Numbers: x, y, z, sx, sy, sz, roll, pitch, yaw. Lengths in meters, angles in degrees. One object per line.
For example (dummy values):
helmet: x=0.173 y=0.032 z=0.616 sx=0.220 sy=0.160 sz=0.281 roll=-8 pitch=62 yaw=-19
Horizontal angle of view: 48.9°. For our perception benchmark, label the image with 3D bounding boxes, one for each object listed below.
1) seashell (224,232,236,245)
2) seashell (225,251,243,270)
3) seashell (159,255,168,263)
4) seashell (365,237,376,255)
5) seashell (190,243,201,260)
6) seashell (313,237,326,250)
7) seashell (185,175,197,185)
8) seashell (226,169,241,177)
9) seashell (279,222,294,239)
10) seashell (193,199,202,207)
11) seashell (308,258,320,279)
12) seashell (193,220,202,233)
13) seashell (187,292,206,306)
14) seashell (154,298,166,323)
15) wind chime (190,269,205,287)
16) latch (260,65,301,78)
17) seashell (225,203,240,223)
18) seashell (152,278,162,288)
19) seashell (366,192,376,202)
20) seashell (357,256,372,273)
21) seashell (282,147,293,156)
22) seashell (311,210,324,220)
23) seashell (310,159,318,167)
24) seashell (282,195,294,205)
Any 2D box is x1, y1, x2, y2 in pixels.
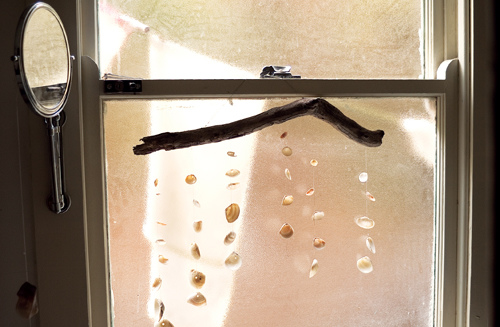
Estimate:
seashell: x=-0.064 y=0.239 z=1.759 sx=0.045 sy=0.017 sz=0.027 roll=-41 pitch=-73 yaw=13
seashell: x=-0.052 y=0.314 z=1.760 sx=0.055 sy=0.024 sz=0.053 roll=-42 pitch=-73 yaw=14
seashell: x=-0.275 y=0.304 z=1.742 sx=0.031 sy=0.008 sz=0.019 roll=22 pitch=-71 yaw=-10
seashell: x=0.390 y=0.267 z=1.781 sx=0.034 sy=0.011 sz=0.050 roll=-19 pitch=-90 yaw=-14
seashell: x=-0.175 y=0.279 z=1.748 sx=0.017 sy=0.029 sz=0.047 roll=-14 pitch=-84 yaw=45
seashell: x=0.221 y=0.256 z=1.773 sx=0.042 sy=0.016 sz=0.032 roll=28 pitch=-72 yaw=-12
seashell: x=-0.187 y=0.051 z=1.746 sx=0.029 sy=0.016 sz=0.028 roll=-9 pitch=-93 yaw=-9
seashell: x=-0.057 y=0.029 z=1.758 sx=0.054 sy=0.017 sz=0.037 roll=-3 pitch=-80 yaw=-10
seashell: x=0.118 y=0.216 z=1.768 sx=0.042 sy=0.020 sz=0.041 roll=41 pitch=-75 yaw=-16
seashell: x=-0.174 y=0.125 z=1.743 sx=0.015 sy=0.006 sz=0.024 roll=-25 pitch=-81 yaw=0
seashell: x=0.206 y=0.336 z=1.772 sx=0.029 sy=0.015 sz=0.055 roll=21 pitch=-90 yaw=1
seashell: x=-0.165 y=0.200 z=1.749 sx=0.028 sy=0.010 sz=0.035 roll=5 pitch=-89 yaw=-8
seashell: x=-0.170 y=0.436 z=1.753 sx=0.052 sy=0.015 sz=0.041 roll=-32 pitch=-71 yaw=10
seashell: x=-0.289 y=0.462 z=1.743 sx=0.019 sy=0.049 sz=0.059 roll=1 pitch=-111 yaw=-3
wind chime: x=-0.168 y=0.363 z=1.750 sx=0.040 sy=0.025 sz=0.053 roll=-34 pitch=-86 yaw=-19
latch: x=0.085 y=-0.289 z=1.740 sx=0.080 sy=0.056 sz=0.029 roll=2 pitch=-74 yaw=2
seashell: x=-0.056 y=0.157 z=1.759 sx=0.050 sy=0.025 sz=0.051 roll=-20 pitch=-69 yaw=6
seashell: x=-0.295 y=0.378 z=1.742 sx=0.011 sy=0.022 sz=0.030 roll=24 pitch=-103 yaw=-49
seashell: x=0.391 y=0.108 z=1.785 sx=0.033 sy=0.010 sz=0.020 roll=33 pitch=-87 yaw=-10
seashell: x=0.371 y=0.327 z=1.781 sx=0.047 sy=0.018 sz=0.048 roll=-21 pitch=-69 yaw=6
seashell: x=0.121 y=-0.040 z=1.769 sx=0.035 sy=0.010 sz=0.028 roll=-5 pitch=-68 yaw=0
seashell: x=0.218 y=0.165 z=1.774 sx=0.041 sy=0.014 sz=0.029 roll=-4 pitch=-68 yaw=0
seashell: x=0.207 y=-0.004 z=1.775 sx=0.025 sy=0.008 sz=0.021 roll=37 pitch=-74 yaw=-15
seashell: x=0.123 y=0.116 z=1.770 sx=0.038 sy=0.015 sz=0.028 roll=1 pitch=-68 yaw=-2
